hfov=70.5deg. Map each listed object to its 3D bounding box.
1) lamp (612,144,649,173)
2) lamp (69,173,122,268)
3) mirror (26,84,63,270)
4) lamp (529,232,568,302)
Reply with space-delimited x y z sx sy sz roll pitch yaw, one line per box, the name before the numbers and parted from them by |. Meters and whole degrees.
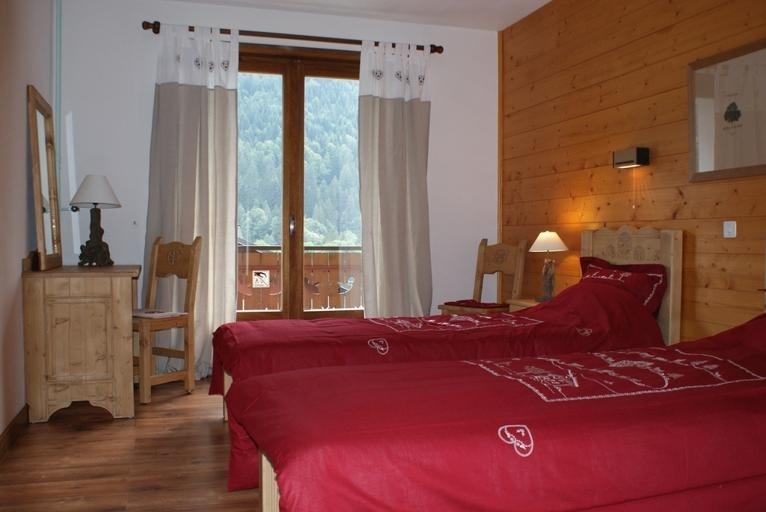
lamp | 1.975 -0.791 4.371 0.141 0.167 0.332 -3 7 -22
lamp | -2.459 -0.313 4.680 0.536 0.721 0.529 2 -2 -43
mirror | -2.678 -0.608 4.261 0.211 1.394 0.906 -4 7 -31
lamp | 1.509 0.105 4.965 0.350 0.631 0.343 3 -3 -21
